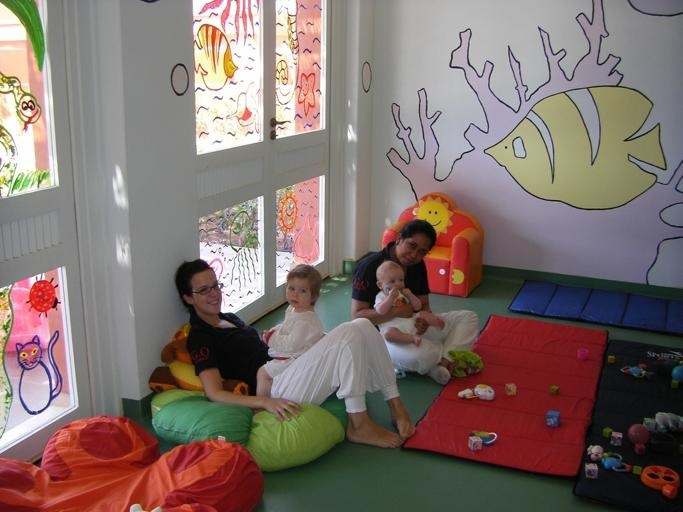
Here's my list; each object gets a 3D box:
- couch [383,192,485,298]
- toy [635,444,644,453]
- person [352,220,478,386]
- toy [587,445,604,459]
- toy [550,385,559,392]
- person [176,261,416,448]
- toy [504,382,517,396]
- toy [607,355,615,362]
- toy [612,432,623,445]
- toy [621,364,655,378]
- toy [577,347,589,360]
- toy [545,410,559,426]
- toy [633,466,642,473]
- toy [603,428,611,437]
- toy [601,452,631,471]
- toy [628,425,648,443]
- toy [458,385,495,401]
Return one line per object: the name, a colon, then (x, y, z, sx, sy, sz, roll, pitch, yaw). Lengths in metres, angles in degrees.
couch: (0.842, -0.077, 4.203, 0.732, 0.809, 0.395, 10, 24, 29)
toy: (1.519, 0.984, 2.504, 0.036, 0.038, 0.039, 0, 8, 34)
person: (0.444, 0.278, 3.188, 0.728, 1.040, 0.728, 3, 15, 31)
toy: (1.288, 0.990, 2.483, 0.048, 0.038, 0.069, 3, 4, 10)
toy: (1.327, 0.821, 3.056, 0.042, 0.036, 0.044, 1, 10, 30)
person: (-0.272, 0.513, 2.828, 1.307, 1.002, 0.748, 0, 12, 11)
toy: (1.046, 0.818, 3.051, 0.058, 0.067, 0.064, -2, 22, 3)
toy: (1.858, 0.706, 3.381, 0.042, 0.035, 0.037, -7, -6, -45)
toy: (1.445, 0.962, 2.578, 0.039, 0.045, 0.031, 3, 13, 18)
toy: (1.940, 0.759, 3.228, 0.100, 0.031, 0.094, 12, 25, 13)
toy: (1.691, 0.672, 3.441, 0.071, 0.052, 0.072, 13, 22, 42)
toy: (1.180, 0.902, 2.774, 0.067, 0.071, 0.068, -4, 16, 44)
toy: (1.429, 1.036, 2.375, 0.034, 0.034, 0.029, -2, 7, 6)
toy: (1.424, 0.950, 2.641, 0.037, 0.040, 0.036, 11, 14, -44)
toy: (1.348, 1.013, 2.429, 0.128, 0.040, 0.116, 2, 18, 6)
toy: (1.566, 0.958, 2.618, 0.086, 0.049, 0.088, 40, 71, 14)
toy: (0.826, 0.836, 3.007, 0.153, 0.042, 0.102, -1, 10, -7)
